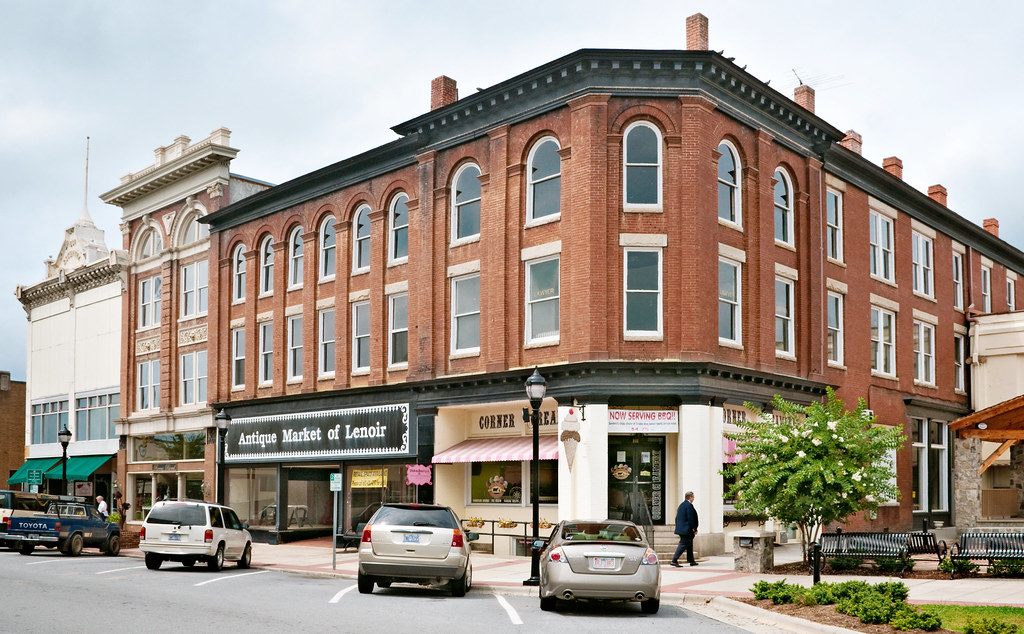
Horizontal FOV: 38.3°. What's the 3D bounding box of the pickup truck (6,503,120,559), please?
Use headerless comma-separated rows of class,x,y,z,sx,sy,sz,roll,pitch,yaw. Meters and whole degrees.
pickup truck,-18.705,8.994,61.090,6.657,2.586,3.319,1,-2,6

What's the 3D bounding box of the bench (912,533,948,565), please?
bench,15.619,8.646,55.049,1.537,1.121,0.661,0,-1,38

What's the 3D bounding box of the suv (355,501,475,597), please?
suv,-3.349,7.875,50.389,3.682,3.100,1.984,1,-16,-6
